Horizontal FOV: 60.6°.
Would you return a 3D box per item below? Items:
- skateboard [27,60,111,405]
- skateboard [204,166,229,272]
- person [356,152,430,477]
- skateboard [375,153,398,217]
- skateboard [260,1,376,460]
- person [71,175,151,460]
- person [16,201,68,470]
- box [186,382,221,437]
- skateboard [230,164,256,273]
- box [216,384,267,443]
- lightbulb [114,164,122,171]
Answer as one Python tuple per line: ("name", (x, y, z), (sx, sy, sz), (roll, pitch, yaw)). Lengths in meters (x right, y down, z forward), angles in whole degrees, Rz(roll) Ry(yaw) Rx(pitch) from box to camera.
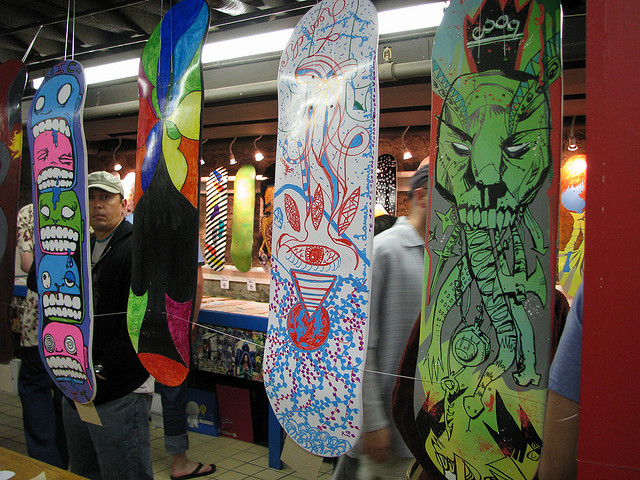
("skateboard", (-1.198, -0.057, 2.549), (0.460, 1.598, 0.153), (-2, -3, 34))
("skateboard", (-0.934, -0.195, 4.865), (0.201, 0.942, 0.127), (6, 7, 31))
("person", (0.269, 0.295, 2.004), (0.238, 1.192, 0.162), (5, 1, 29))
("skateboard", (0.460, -0.370, 3.852), (0.156, 0.012, 0.725), (7, -32, 10))
("skateboard", (0.017, -0.049, 1.995), (0.369, 1.776, 0.256), (4, 3, 23))
("person", (-0.958, 0.433, 2.616), (0.338, 1.459, 0.239), (-8, -5, 17))
("person", (-1.498, 0.541, 2.943), (0.297, 1.671, 0.224), (-3, -2, 18))
("box", (-0.872, 1.200, 3.774), (0.107, 0.305, 0.305), (-26, -32, 27))
("skateboard", (-0.644, -0.181, 4.526), (0.186, 0.924, 0.123), (3, 6, 23))
("box", (-0.597, 1.181, 3.689), (0.103, 0.335, 0.315), (-24, -34, 24))
("lightbulb", (-2.017, -0.721, 5.413), (0.066, 0.056, 0.070), (5, 7, 26))
